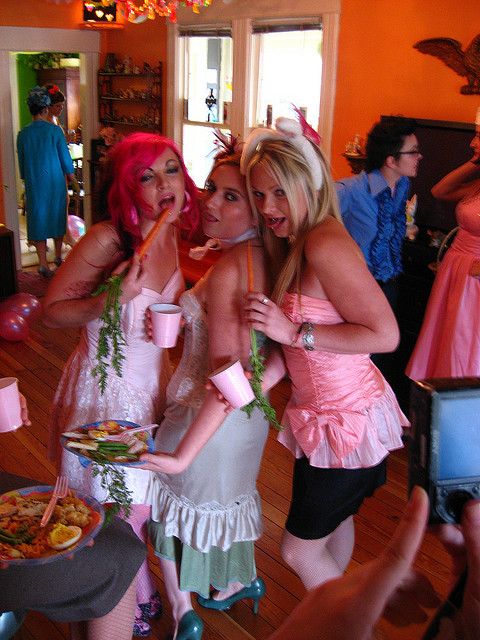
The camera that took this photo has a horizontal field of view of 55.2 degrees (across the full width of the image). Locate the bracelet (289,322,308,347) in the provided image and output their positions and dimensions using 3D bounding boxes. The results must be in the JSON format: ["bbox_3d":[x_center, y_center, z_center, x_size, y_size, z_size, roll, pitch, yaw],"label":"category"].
[{"bbox_3d":[0.167,0.042,1.326,0.015,0.062,0.038,37,0,43],"label":"bracelet"}]

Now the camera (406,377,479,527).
[{"bbox_3d":[0.202,0.134,0.451,0.074,0.155,0.044,-3,17,-14],"label":"camera"}]

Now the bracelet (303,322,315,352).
[{"bbox_3d":[0.199,0.050,1.326,0.049,0.066,0.018,-9,-9,39],"label":"bracelet"}]

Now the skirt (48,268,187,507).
[{"bbox_3d":[-0.394,0.221,1.527,0.348,0.887,0.439,12,29,-28],"label":"skirt"}]

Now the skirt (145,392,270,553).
[{"bbox_3d":[-0.104,0.583,1.744,0.377,0.468,0.280,-4,-11,-1],"label":"skirt"}]

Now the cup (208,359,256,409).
[{"bbox_3d":[-0.022,0.172,1.217,0.116,0.139,0.054,0,16,-6],"label":"cup"}]

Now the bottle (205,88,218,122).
[{"bbox_3d":[-0.357,-2.788,5.961,0.073,0.417,0.184,-11,20,-37],"label":"bottle"}]

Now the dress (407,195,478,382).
[{"bbox_3d":[1.344,-0.158,2.973,0.309,1.248,0.576,2,16,3],"label":"dress"}]

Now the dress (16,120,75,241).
[{"bbox_3d":[-2.607,-1.880,6.234,0.664,1.554,0.370,-7,18,-25],"label":"dress"}]

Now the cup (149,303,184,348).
[{"bbox_3d":[-0.238,0.023,1.541,0.134,0.139,0.136,7,14,-2],"label":"cup"}]
